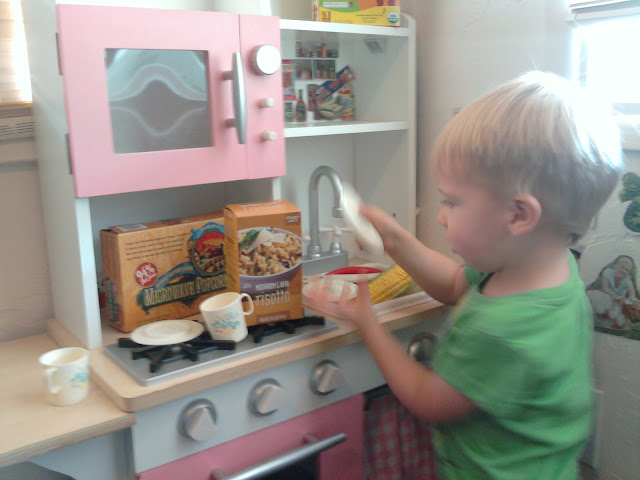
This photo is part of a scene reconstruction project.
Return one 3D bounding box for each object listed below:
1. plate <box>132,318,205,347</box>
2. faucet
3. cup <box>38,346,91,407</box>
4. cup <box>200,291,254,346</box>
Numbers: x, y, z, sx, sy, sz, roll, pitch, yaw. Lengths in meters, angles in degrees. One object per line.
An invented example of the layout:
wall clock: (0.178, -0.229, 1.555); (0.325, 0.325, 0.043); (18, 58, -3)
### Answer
plate: (-0.387, 0.229, 1.245); (0.175, 0.027, 0.153); (-7, 16, 2)
faucet: (0.042, -0.112, 1.717); (0.124, 0.322, 0.141); (-4, 19, -24)
cup: (-0.560, 0.298, 1.081); (0.097, 0.098, 0.101); (-6, 16, 2)
cup: (-0.238, 0.194, 1.227); (0.113, 0.105, 0.140); (-2, 17, 16)
